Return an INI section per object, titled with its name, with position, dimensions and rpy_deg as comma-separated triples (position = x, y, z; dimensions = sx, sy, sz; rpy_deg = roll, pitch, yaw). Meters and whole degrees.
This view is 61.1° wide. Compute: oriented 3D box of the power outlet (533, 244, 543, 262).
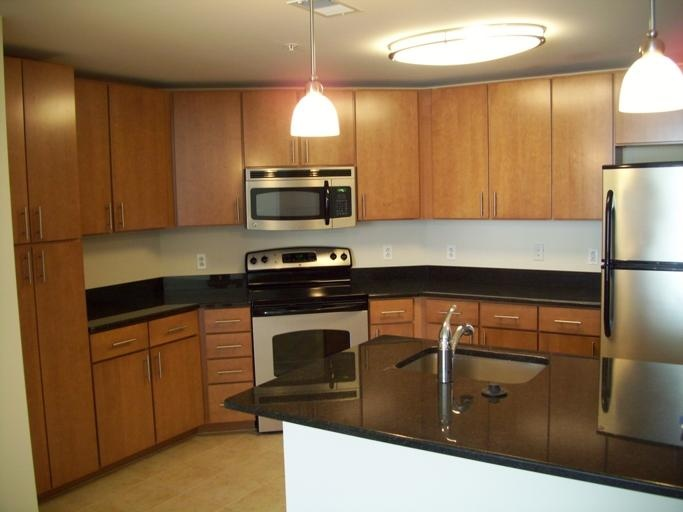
[power outlet]
position = 1.607, -0.034, 4.700
dimensions = 0.074, 0.131, 0.018
rpy_deg = 1, 12, 28

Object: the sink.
[sink]
position = 0.663, 0.534, 2.788
dimensions = 0.401, 0.139, 0.312
rpy_deg = 2, 5, 29

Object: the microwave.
[microwave]
position = -0.350, -0.427, 4.804
dimensions = 0.812, 0.515, 0.513
rpy_deg = -1, 3, -5

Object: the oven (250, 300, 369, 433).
[oven]
position = -0.284, 1.017, 4.762
dimensions = 1.213, 1.187, 0.827
rpy_deg = -2, 1, -15
